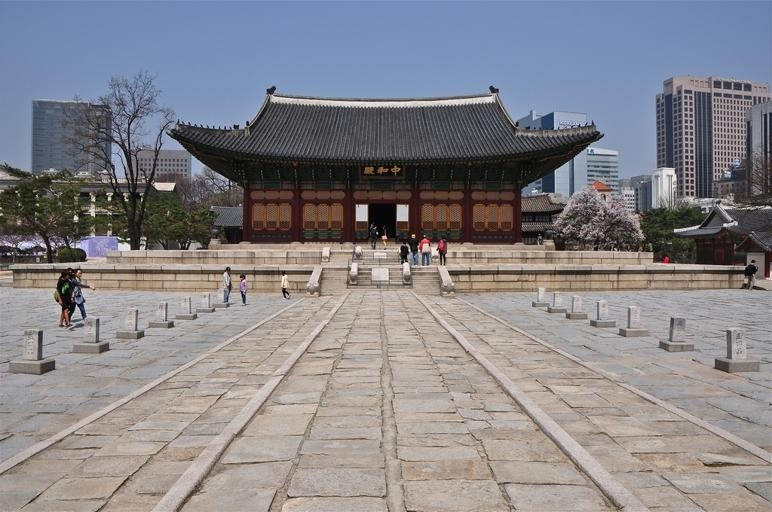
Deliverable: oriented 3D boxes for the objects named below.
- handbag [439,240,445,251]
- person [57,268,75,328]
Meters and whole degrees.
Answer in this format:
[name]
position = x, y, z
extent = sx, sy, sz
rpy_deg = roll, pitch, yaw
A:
[handbag]
position = 2.358, -0.395, 29.439
extent = 0.201, 0.459, 0.400
rpy_deg = 4, 15, 21
[person]
position = -8.594, 1.191, 18.979
extent = 0.489, 1.545, 0.992
rpy_deg = -8, 15, -24
